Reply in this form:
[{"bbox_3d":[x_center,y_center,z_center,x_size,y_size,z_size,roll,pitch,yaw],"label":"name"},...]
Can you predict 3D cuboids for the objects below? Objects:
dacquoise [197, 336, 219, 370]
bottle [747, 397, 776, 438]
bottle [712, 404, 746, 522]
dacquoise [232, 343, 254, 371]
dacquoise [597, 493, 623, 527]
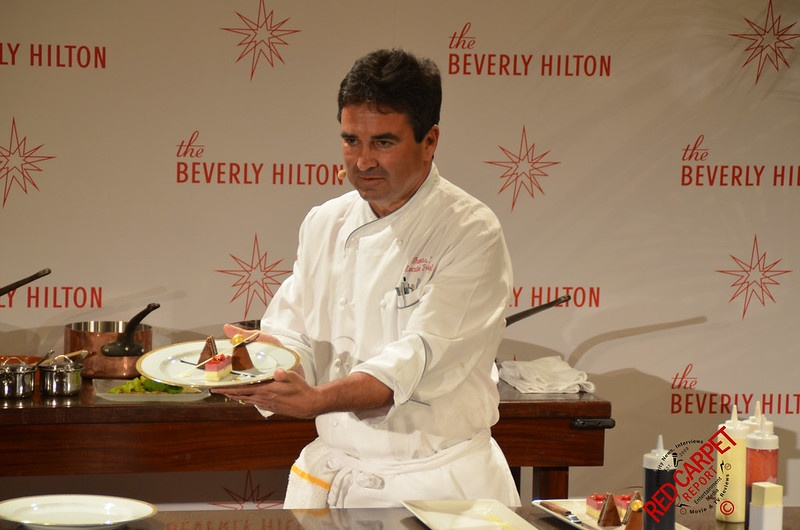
[{"bbox_3d":[-0.594,0.273,2.423,0.061,0.070,0.119,-1,-1,-16],"label":"dacquoise"},{"bbox_3d":[1.094,0.462,2.363,0.076,0.098,0.082,-3,-3,0],"label":"bottle"},{"bbox_3d":[0.999,0.601,2.335,0.094,0.362,0.065,-1,0,23],"label":"bottle"},{"bbox_3d":[-0.486,0.291,2.460,0.065,0.080,0.075,-5,-12,3],"label":"dacquoise"},{"bbox_3d":[0.637,0.754,2.401,0.078,0.104,0.085,1,-2,-9],"label":"dacquoise"}]
